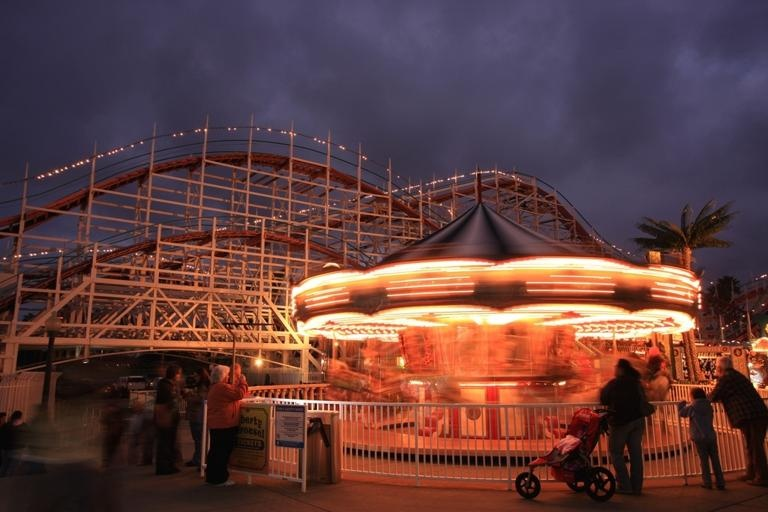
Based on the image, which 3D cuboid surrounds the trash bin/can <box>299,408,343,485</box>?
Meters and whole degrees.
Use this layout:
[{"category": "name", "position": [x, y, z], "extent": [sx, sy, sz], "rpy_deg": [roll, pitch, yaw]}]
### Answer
[{"category": "trash bin/can", "position": [-1.191, 3.675, 12.194], "extent": [0.699, 1.344, 0.557], "rpy_deg": [-2, -21, 4]}]
